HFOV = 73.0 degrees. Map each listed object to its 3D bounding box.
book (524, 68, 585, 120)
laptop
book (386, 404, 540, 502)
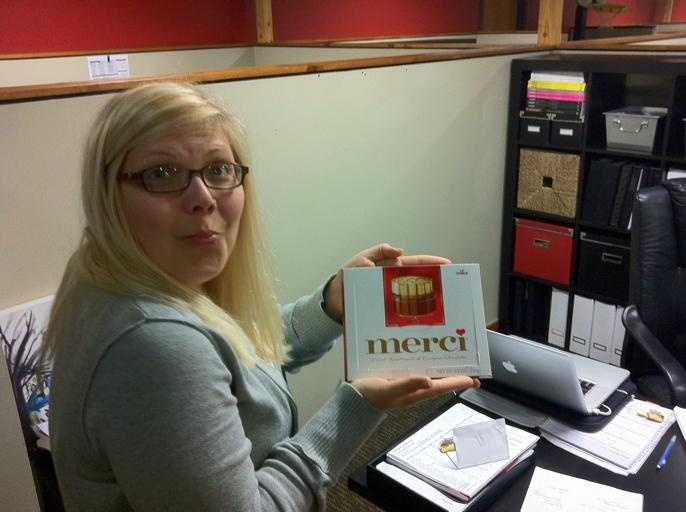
[{"bbox_3d":[1.332,-1.015,2.888,0.310,0.338,0.121,9,19,32],"label":"book"},{"bbox_3d":[0.728,0.343,1.557,0.344,0.240,0.380,-18,20,-34],"label":"laptop"},{"bbox_3d":[0.351,0.573,1.310,0.297,0.043,0.265,-25,29,-35],"label":"book"}]
